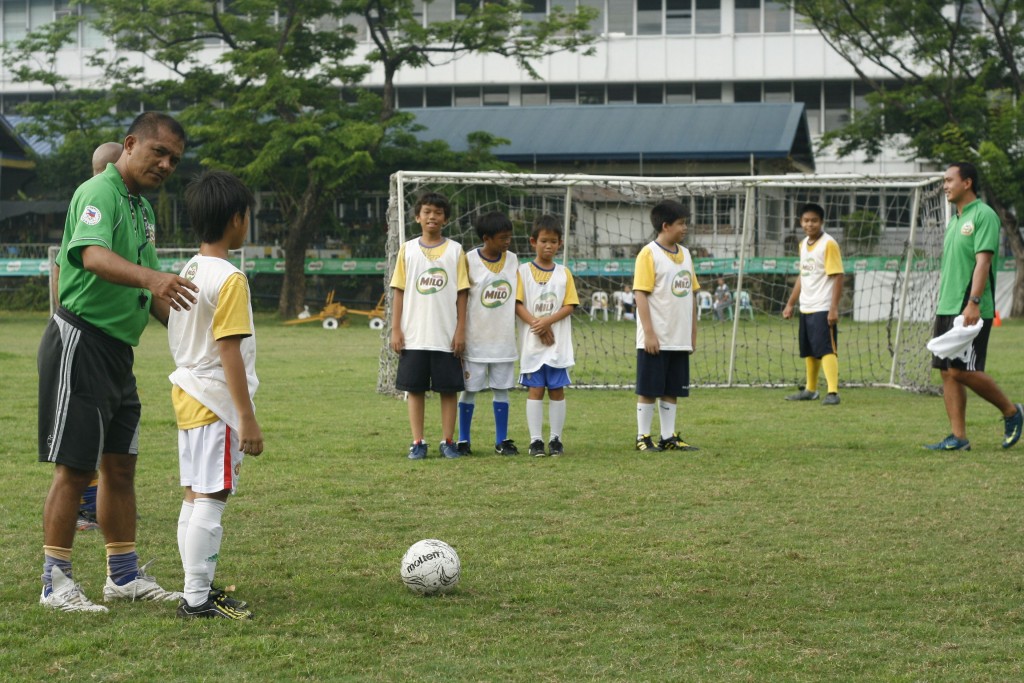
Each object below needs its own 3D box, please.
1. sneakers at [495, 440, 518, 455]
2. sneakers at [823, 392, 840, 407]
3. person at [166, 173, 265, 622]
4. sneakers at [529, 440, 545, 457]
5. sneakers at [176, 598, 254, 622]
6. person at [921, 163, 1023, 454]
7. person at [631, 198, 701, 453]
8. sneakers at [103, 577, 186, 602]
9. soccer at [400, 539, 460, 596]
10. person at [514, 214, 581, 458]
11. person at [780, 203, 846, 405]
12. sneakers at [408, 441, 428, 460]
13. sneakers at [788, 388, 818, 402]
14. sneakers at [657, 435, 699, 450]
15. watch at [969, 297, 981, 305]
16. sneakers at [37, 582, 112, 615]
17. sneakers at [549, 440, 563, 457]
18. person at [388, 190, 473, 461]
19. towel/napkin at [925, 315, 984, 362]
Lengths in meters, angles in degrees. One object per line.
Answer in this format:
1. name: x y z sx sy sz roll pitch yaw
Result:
1. sneakers: -0.047 1.202 16.108 0.134 0.104 0.237 0 -5 -18
2. sneakers: 4.242 0.767 18.841 0.143 0.153 0.378 -2 -8 9
3. person: -2.639 0.462 12.571 0.807 3.946 0.460 0 3 -6
4. sneakers: 0.281 1.205 15.973 0.185 0.210 0.484 1 1 0
5. sneakers: -2.612 2.371 12.539 0.649 0.243 0.225 1 -3 -4
6. person: 5.181 -0.386 15.844 0.909 3.205 0.755 1 3 16
7. person: 1.755 -0.205 16.249 0.700 2.863 0.693 1 3 6
8. sneakers: -3.343 2.248 12.893 0.703 0.257 0.262 0 -3 -3
9. soccer: -0.685 2.115 13.152 0.585 0.548 0.716 -6 -3 -23
10. person: 0.397 -0.066 16.122 0.706 2.666 0.505 1 3 1
11. person: 4.133 -0.551 19.427 0.740 2.679 1.513 1 3 11
12. sneakers: -1.040 1.211 15.779 0.244 0.221 0.150 4 -7 -1
13. sneakers: 4.022 0.727 19.383 0.444 0.177 0.162 2 -3 -15
14. sneakers: 1.913 1.149 16.247 0.474 0.195 0.155 1 -1 0
15. watch: 5.065 -0.443 15.517 0.112 0.077 0.058 1 3 -3
16. sneakers: -3.905 2.281 12.603 0.632 0.231 0.246 0 -2 8
17. sneakers: 0.493 1.204 16.008 0.119 0.129 0.341 0 -12 0
18. person: -0.923 -0.175 15.815 0.851 2.928 0.404 0 3 -5
19. towel/napkin: 4.896 -0.054 15.676 0.568 0.491 0.234 1 3 15
